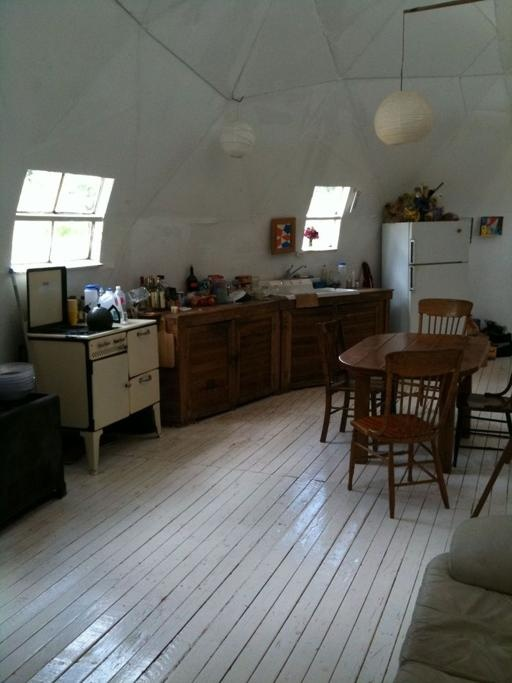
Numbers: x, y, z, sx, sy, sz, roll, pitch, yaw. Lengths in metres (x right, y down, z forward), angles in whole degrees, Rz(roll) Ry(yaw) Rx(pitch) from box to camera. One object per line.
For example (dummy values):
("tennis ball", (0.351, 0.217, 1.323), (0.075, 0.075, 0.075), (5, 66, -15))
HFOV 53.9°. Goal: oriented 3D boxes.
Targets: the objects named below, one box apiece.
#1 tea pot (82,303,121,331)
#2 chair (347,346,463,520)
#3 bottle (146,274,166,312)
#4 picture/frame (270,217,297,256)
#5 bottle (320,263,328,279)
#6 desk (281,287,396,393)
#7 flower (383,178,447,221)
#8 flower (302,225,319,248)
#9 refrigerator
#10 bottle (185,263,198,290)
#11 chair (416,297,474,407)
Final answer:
("tea pot", (-1.167, -0.196, 3.736), (0.262, 0.193, 0.195), (8, 10, 18))
("chair", (0.848, 0.489, 3.011), (0.527, 0.969, 0.584), (-4, 9, -25))
("bottle", (-0.934, -0.456, 4.704), (0.193, 0.332, 0.250), (-2, 5, -13))
("picture/frame", (0.309, -1.301, 6.132), (0.415, 0.516, 0.034), (-11, 19, -43))
("bottle", (0.896, -0.936, 6.730), (0.096, 0.213, 0.253), (0, 5, 9))
("desk", (0.776, -0.137, 6.197), (1.548, 1.052, 0.848), (-8, 18, -20))
("flower", (2.142, -1.885, 6.956), (0.795, 0.466, 0.343), (1, 5, 17))
("flower", (0.710, -1.368, 6.575), (0.177, 0.245, 0.320), (0, 5, 8))
("refrigerator", (2.353, -0.811, 7.053), (1.041, 1.776, 0.918), (-11, 19, -24))
("bottle", (-0.676, -0.666, 5.287), (0.140, 0.277, 0.297), (-1, 5, -8))
("chair", (1.838, -0.030, 4.963), (0.675, 1.329, 0.841), (1, 3, 24))
